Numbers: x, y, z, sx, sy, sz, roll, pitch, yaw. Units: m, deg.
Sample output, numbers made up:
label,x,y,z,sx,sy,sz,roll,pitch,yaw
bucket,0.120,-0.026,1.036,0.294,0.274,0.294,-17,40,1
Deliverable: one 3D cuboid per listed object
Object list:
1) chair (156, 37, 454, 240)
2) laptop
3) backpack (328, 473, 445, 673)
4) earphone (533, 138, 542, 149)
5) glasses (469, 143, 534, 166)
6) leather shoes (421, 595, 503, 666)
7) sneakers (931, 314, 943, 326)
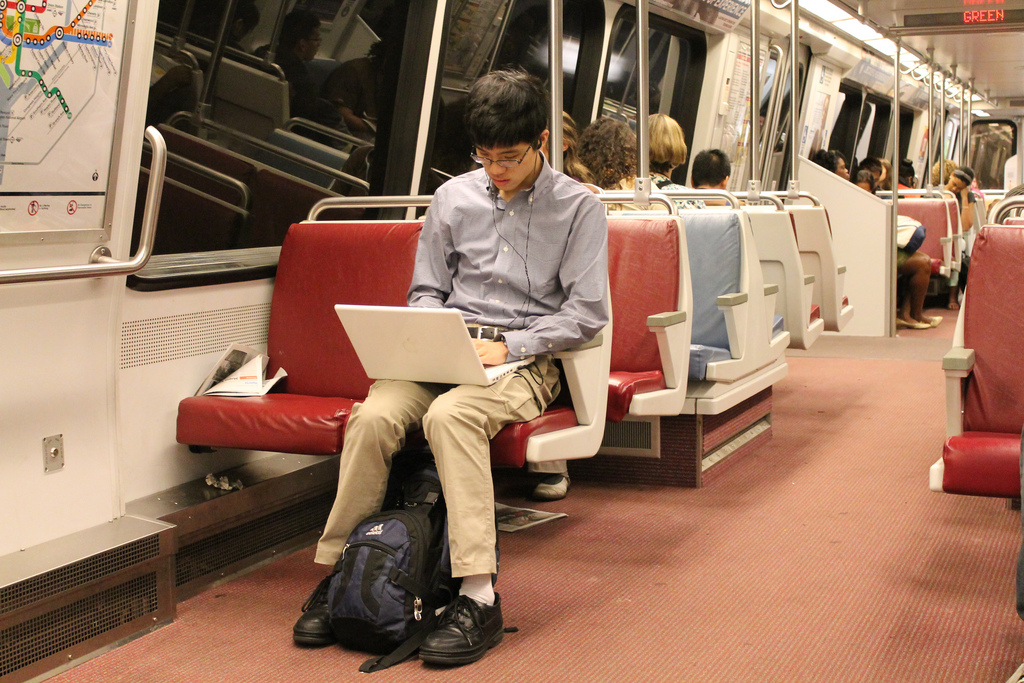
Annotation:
label,x,y,z,sx,sy,sz,roll,pitch,yaw
chair,-1.054,-1.209,3.642,0.760,1.238,1.806,13,13,21
laptop,-0.358,0.014,2.478,0.426,0.260,0.388,2,11,30
backpack,-0.403,0.811,2.372,0.401,0.502,0.238,-10,12,-43
earphone,0.096,-0.752,2.618,0.030,0.041,0.035,-2,-2,22
glasses,-0.031,-0.677,2.558,0.225,0.107,0.100,-2,9,-3
leather shoes,-0.165,0.978,2.353,0.128,0.144,0.329,-2,-4,23
sneakers,5.680,-0.272,9.186,0.093,0.113,0.282,2,20,37
